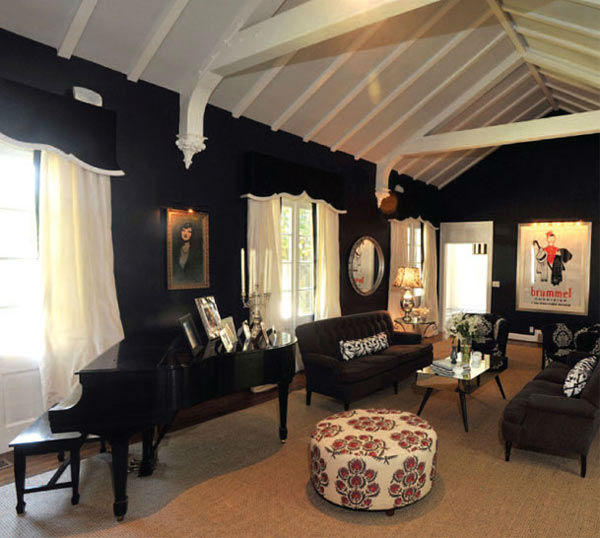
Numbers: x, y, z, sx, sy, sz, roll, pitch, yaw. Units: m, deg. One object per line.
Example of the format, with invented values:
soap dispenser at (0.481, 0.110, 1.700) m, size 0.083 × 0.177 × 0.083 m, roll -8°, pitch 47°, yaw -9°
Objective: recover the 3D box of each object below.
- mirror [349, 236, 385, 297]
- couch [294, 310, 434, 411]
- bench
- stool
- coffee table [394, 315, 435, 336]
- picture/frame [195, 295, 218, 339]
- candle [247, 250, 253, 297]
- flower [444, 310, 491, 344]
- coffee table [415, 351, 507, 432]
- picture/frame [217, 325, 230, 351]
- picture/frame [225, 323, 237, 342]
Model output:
mirror at (1.058, -0.059, 7.753) m, size 0.851 × 0.962 × 0.048 m, roll 6°, pitch -3°, yaw -40°
couch at (0.908, 1.112, 6.045) m, size 1.906 × 1.072 × 0.852 m, roll -4°, pitch 0°, yaw -44°
bench at (-1.760, 1.307, 3.443) m, size 0.503 × 0.573 × 1.047 m, roll -1°, pitch 2°, yaw -19°
stool at (0.556, 1.492, 3.632) m, size 0.975 × 0.511 × 0.644 m, roll 1°, pitch 6°, yaw 0°
coffee table at (1.990, 1.024, 8.224) m, size 0.585 × 0.459 × 0.646 m, roll 2°, pitch 3°, yaw 13°
picture/frame at (-0.799, 0.450, 4.280) m, size 0.035 × 0.405 × 0.384 m, roll -20°, pitch 4°, yaw -31°
candle at (-0.434, 0.039, 4.263) m, size 0.050 × 0.419 × 0.230 m, roll -1°, pitch 5°, yaw -10°
flower at (2.271, 0.805, 6.387) m, size 0.669 × 0.524 × 0.749 m, roll 1°, pitch -1°, yaw 14°
coffee table at (1.698, 1.379, 5.352) m, size 0.429 × 0.448 × 0.963 m, roll 18°, pitch 3°, yaw 16°
picture/frame at (-0.631, 0.588, 3.997) m, size 0.032 × 0.143 × 0.145 m, roll -10°, pitch 1°, yaw 5°
picture/frame at (-0.619, 0.569, 4.301) m, size 0.030 × 0.135 × 0.136 m, roll -9°, pitch -6°, yaw 5°
